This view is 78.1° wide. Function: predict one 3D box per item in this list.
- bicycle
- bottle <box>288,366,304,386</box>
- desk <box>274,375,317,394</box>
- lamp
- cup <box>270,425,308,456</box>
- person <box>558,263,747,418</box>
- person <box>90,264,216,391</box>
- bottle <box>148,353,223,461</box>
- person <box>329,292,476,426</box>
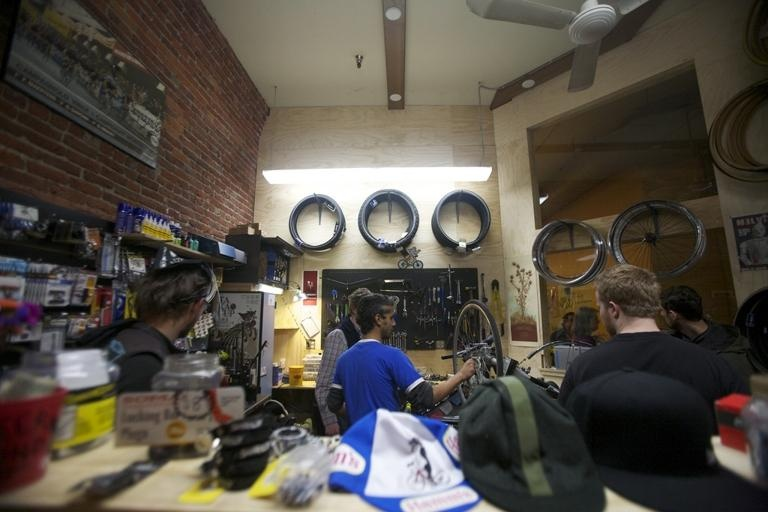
[{"bbox_3d":[1.005,0.776,4.333,0.733,0.725,2.023,-1,-7,3],"label":"bicycle"},{"bbox_3d":[-1.030,1.390,5.514,0.189,0.195,0.191,0,-9,3],"label":"bottle"},{"bbox_3d":[-1.032,1.504,5.554,0.504,0.188,0.232,-2,-9,15],"label":"desk"},{"bbox_3d":[-0.082,-0.973,5.849,2.626,0.231,0.839,1,-9,1],"label":"lamp"},{"bbox_3d":[-0.495,0.982,2.526,0.140,0.135,0.123,4,-6,-10],"label":"cup"},{"bbox_3d":[2.005,0.596,3.503,1.103,1.558,0.517,-6,-10,12],"label":"person"},{"bbox_3d":[-1.460,0.426,3.040,0.485,0.800,0.309,14,-7,-35],"label":"person"},{"bbox_3d":[-1.129,0.842,2.663,0.350,0.516,0.336,-2,-14,0],"label":"bottle"},{"bbox_3d":[0.032,0.817,3.836,1.170,1.015,0.396,-5,-11,31],"label":"person"}]
